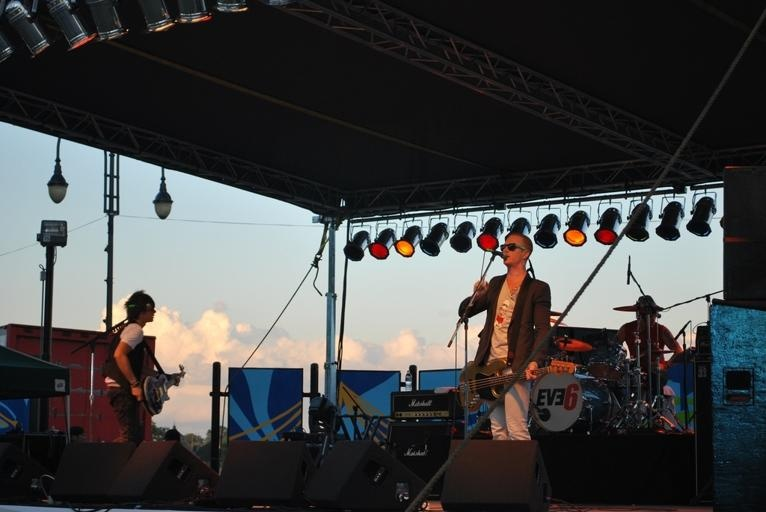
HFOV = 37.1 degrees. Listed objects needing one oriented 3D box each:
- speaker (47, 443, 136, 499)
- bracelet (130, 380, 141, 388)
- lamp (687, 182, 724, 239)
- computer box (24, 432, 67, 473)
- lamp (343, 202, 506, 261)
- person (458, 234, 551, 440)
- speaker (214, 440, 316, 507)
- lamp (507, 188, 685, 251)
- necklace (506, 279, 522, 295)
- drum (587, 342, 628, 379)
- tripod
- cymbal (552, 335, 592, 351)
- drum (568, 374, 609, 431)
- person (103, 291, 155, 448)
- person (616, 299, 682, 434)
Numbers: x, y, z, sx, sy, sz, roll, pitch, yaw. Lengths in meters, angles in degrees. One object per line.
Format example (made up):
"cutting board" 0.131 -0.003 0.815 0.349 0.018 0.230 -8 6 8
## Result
"speaker" -2.781 2.031 10.817 0.595 0.548 0.158 5 -24 7
"bracelet" -2.618 1.354 12.067 0.099 0.068 0.047 13 -15 -43
"lamp" 4.283 -0.638 15.132 0.488 0.900 0.463 15 -34 21
"computer box" -3.555 2.082 11.982 0.467 0.455 0.344 1 -4 22
"lamp" 0.708 -0.319 16.785 2.435 0.778 0.624 -2 -12 21
"person" 1.214 0.734 11.452 0.820 2.131 0.822 2 -15 0
"speaker" -1.120 1.998 10.483 0.797 0.593 0.186 1 -11 10
"lamp" 3.009 -0.501 15.980 2.299 0.768 0.502 -3 -47 24
"necklace" 1.315 0.310 11.392 0.120 0.143 0.030 -4 -10 44
"drum" 2.804 1.314 14.194 0.429 0.429 0.438 26 19 17
"tripod" 3.309 1.809 14.066 1.283 1.185 1.770 -1 -8 21
"cymbal" 2.232 1.042 13.500 0.580 0.154 0.275 10 -13 -34
"drum" 2.531 1.770 13.742 0.353 0.672 0.651 -4 -13 30
"person" -2.637 1.474 12.316 0.683 2.103 0.762 1 -4 -9
"person" 3.295 1.442 14.175 0.798 1.738 0.972 -3 -6 23
